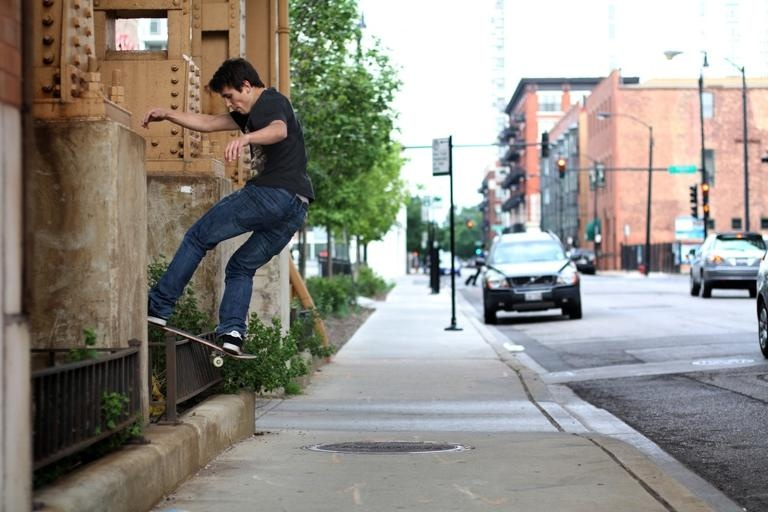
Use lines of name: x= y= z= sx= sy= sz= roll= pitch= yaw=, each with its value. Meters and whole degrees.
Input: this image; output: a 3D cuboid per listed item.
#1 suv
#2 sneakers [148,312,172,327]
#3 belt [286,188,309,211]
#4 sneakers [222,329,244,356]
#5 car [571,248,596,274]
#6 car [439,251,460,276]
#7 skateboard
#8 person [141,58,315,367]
suv: x=3.266 y=0.468 z=22.957 sx=1.382 sy=1.352 sz=2.910 roll=-2 pitch=-5 yaw=1
sneakers: x=-1.744 y=0.497 z=7.660 sx=0.153 sy=0.069 sz=0.073 roll=10 pitch=10 yaw=19
belt: x=-0.708 y=-0.461 z=7.944 sx=0.108 sy=0.046 sz=0.154 roll=6 pitch=-41 yaw=4
sneakers: x=-1.217 y=0.705 z=7.932 sx=0.184 sy=0.191 sz=0.131 roll=-5 pitch=1 yaw=-15
car: x=10.732 y=0.336 z=53.003 sx=1.305 sy=1.374 sz=2.459 roll=-1 pitch=-6 yaw=4
car: x=5.247 y=0.826 z=79.931 sx=1.557 sy=1.305 sz=3.740 roll=0 pitch=8 yaw=6
skateboard: x=-1.525 y=0.735 z=8.113 sx=0.699 sy=0.108 sz=0.170 roll=29 pitch=4 yaw=-20
person: x=-1.333 y=-0.490 z=7.976 sx=1.471 sy=2.405 sz=0.957 roll=4 pitch=-14 yaw=-1
